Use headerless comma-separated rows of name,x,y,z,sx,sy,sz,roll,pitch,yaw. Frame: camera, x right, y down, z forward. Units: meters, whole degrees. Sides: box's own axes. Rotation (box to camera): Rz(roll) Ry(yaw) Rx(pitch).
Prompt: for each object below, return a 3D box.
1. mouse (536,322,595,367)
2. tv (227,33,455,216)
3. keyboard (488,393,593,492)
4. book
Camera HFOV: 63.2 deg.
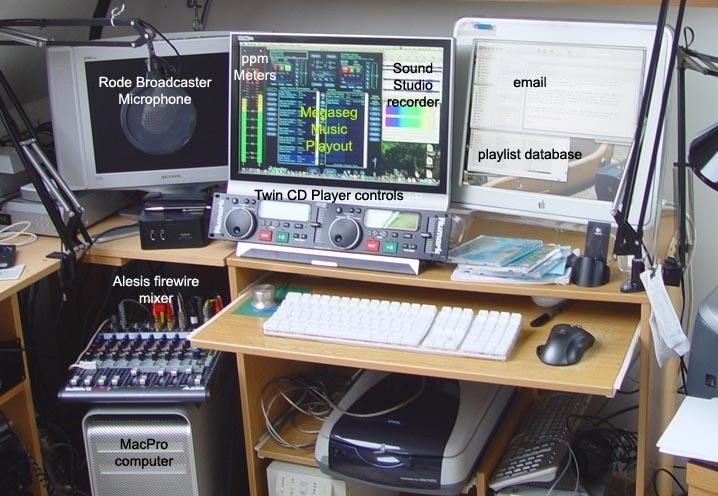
mouse,0.525,0.227,1.463,0.119,0.062,0.195,8,20,40
tv,-0.032,-0.360,1.646,0.508,0.377,0.038,4,11,9
keyboard,0.527,0.463,1.658,0.181,0.095,0.626,7,23,25
book,0.430,0.023,1.598,0.182,0.043,0.190,10,29,25
